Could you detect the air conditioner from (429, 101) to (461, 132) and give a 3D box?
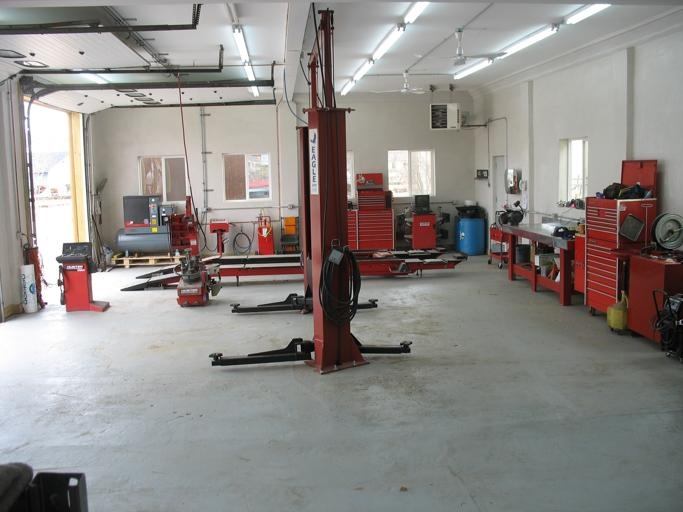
[{"bbox_3d":[2.107,-2.859,10.974,0.882,0.765,0.468,0,2,3],"label":"air conditioner"}]

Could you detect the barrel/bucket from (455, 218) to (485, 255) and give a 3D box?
[{"bbox_3d":[2.811,-0.433,12.225,0.568,0.824,0.848,0,0,-13],"label":"barrel/bucket"}]

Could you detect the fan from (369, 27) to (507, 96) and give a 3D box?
[{"bbox_3d":[1.491,-3.502,9.535,1.421,0.608,1.670,-2,3,21],"label":"fan"}]

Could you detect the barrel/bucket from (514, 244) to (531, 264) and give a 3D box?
[{"bbox_3d":[3.153,-0.049,9.055,0.296,0.337,0.297,-1,0,0],"label":"barrel/bucket"}]
